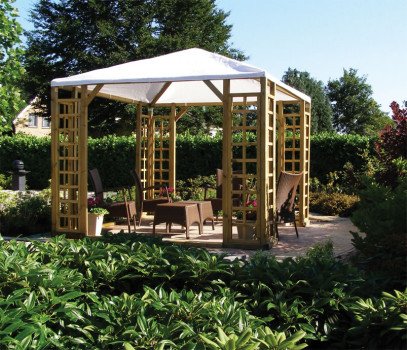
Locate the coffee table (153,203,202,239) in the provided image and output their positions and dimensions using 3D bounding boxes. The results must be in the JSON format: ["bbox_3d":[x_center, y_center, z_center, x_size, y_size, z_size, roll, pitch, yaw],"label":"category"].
[{"bbox_3d":[-0.418,0.725,6.661,0.654,0.421,0.618,-1,-3,18],"label":"coffee table"}]

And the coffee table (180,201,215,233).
[{"bbox_3d":[-0.034,0.722,7.148,0.378,0.299,0.374,-9,-2,-39],"label":"coffee table"}]

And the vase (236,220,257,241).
[{"bbox_3d":[0.630,0.818,6.052,0.369,0.239,0.273,0,-4,1],"label":"vase"}]

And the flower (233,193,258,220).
[{"bbox_3d":[0.705,0.504,6.270,0.421,0.333,0.355,10,6,13],"label":"flower"}]

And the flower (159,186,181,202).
[{"bbox_3d":[-0.666,0.414,8.638,0.418,0.199,0.384,4,6,24],"label":"flower"}]

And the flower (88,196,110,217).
[{"bbox_3d":[-1.775,0.553,6.963,0.374,0.360,0.281,2,-18,-14],"label":"flower"}]

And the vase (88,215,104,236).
[{"bbox_3d":[-1.752,0.800,6.691,0.230,0.358,0.322,0,-3,-6],"label":"vase"}]

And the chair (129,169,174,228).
[{"bbox_3d":[-0.904,0.405,8.053,0.901,0.836,0.833,-2,-3,31],"label":"chair"}]

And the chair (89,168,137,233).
[{"bbox_3d":[-1.550,0.434,7.205,0.907,0.925,0.743,3,2,14],"label":"chair"}]
